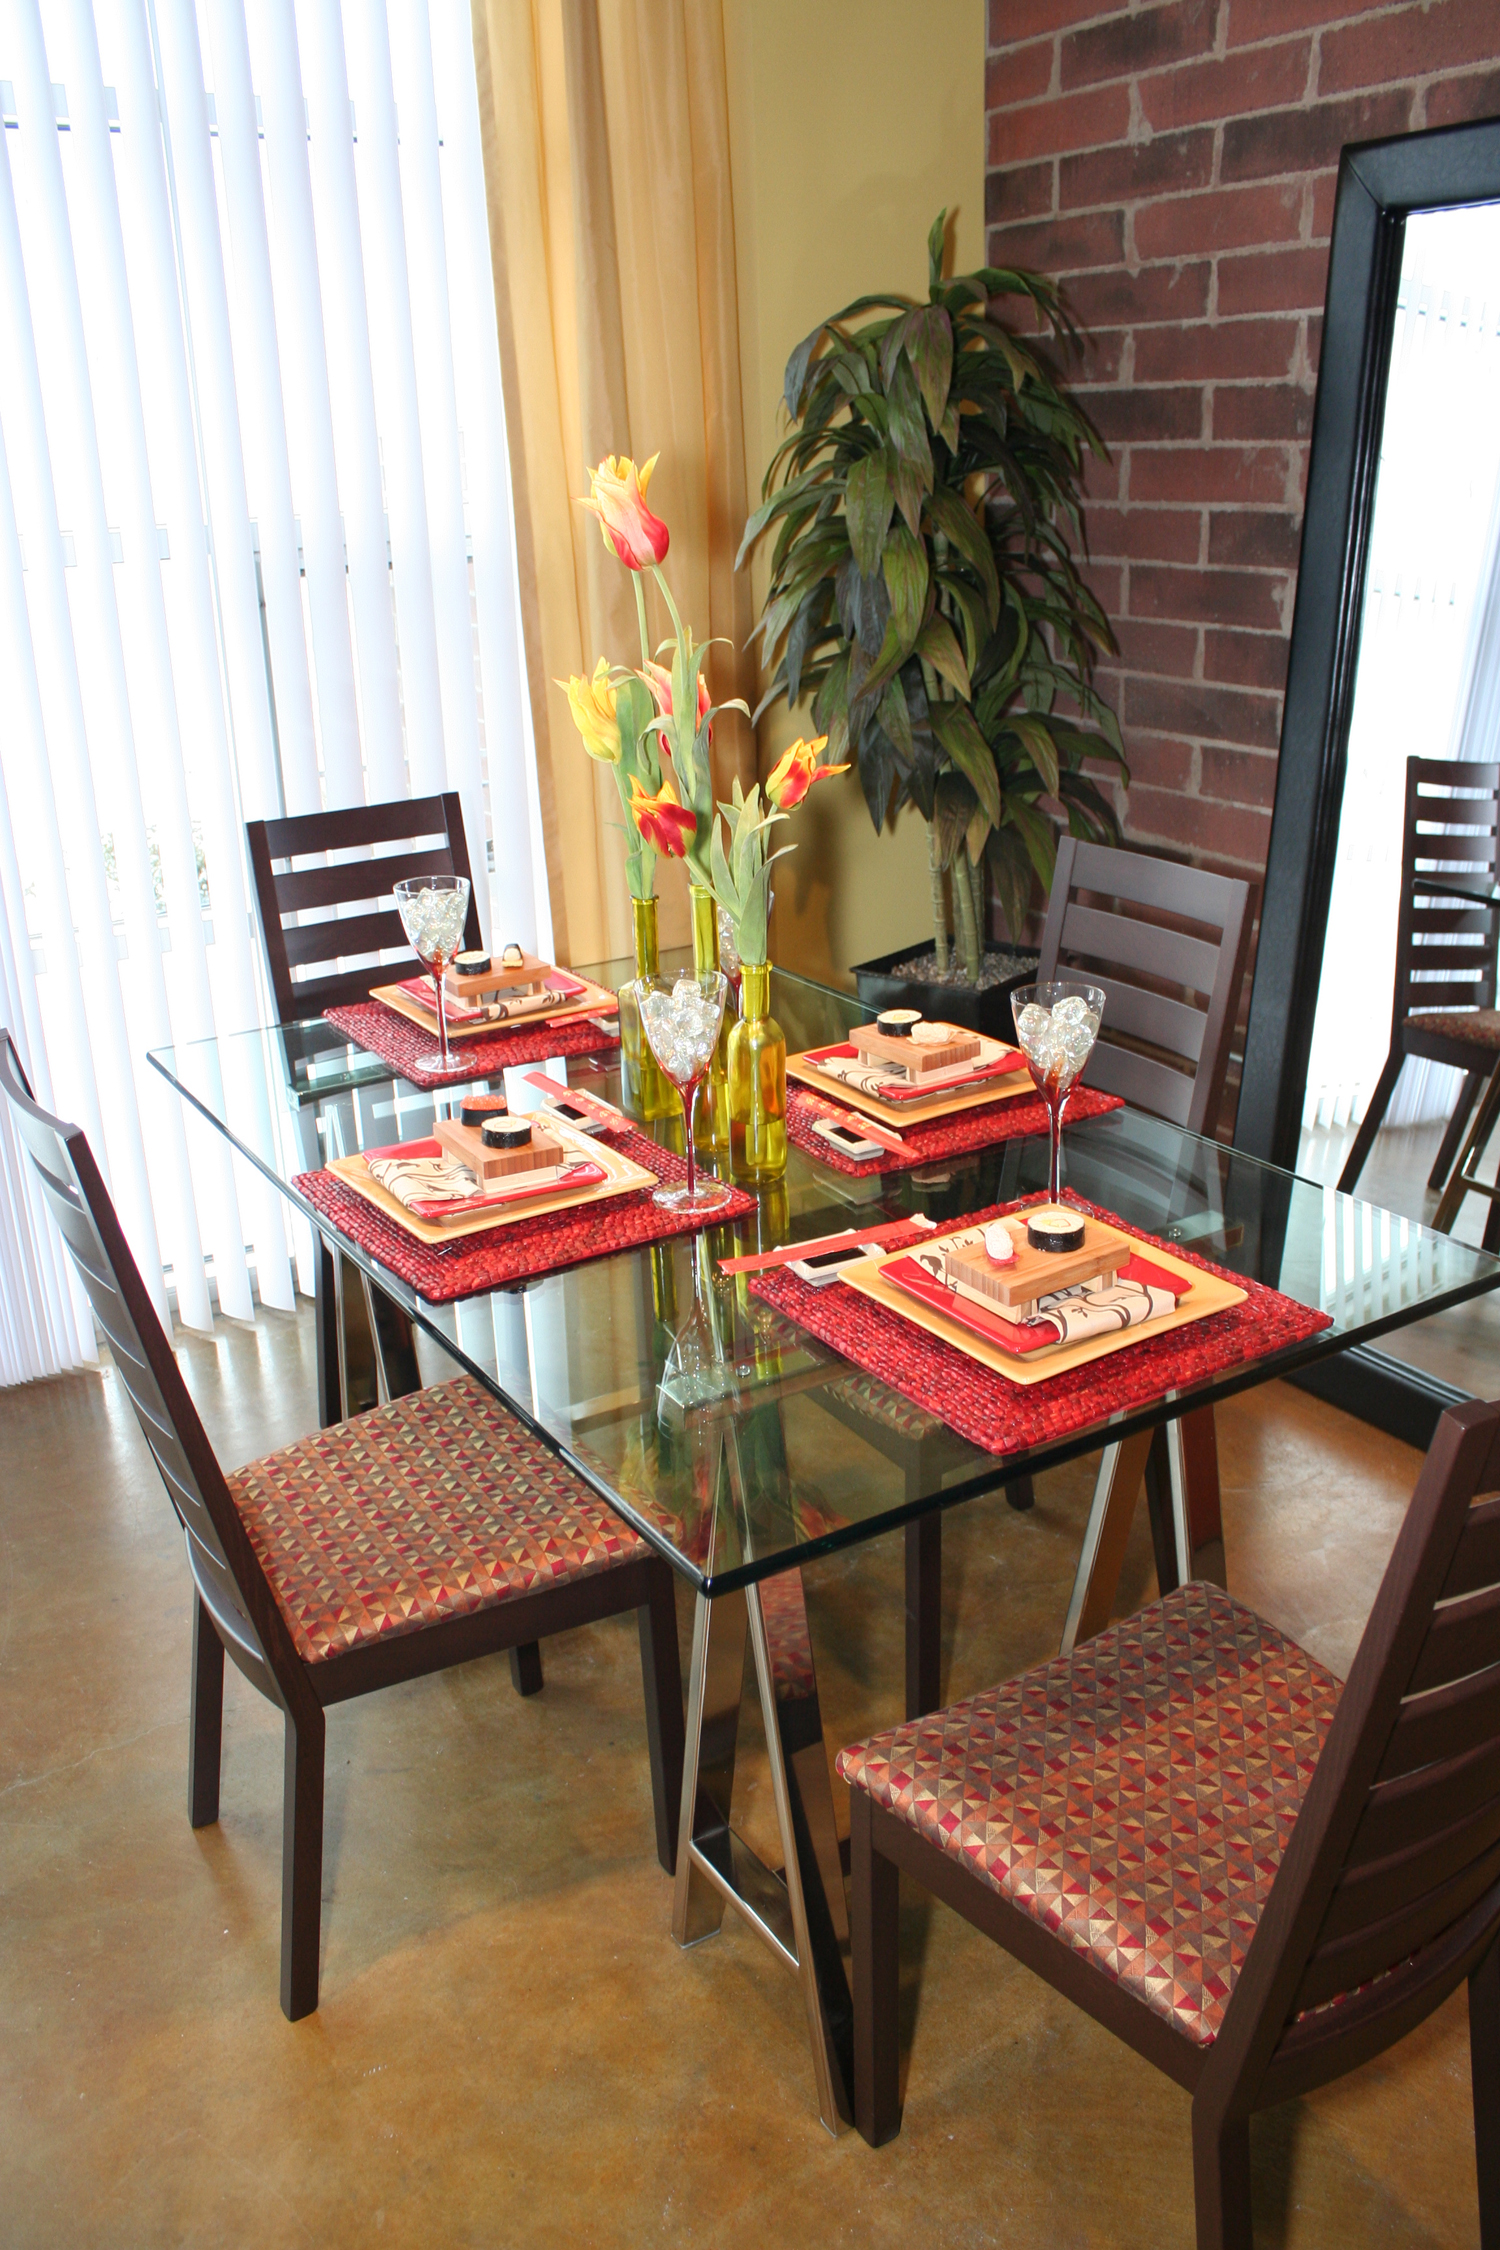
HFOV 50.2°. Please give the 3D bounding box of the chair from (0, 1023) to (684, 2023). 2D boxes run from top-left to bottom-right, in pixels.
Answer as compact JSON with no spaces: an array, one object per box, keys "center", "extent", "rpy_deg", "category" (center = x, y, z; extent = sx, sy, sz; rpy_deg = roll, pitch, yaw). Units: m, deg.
[{"center":[-0.421,0.439,1.661],"extent":[0.558,0.982,0.478],"rpy_deg":[-16,32,-25],"category":"chair"}]
